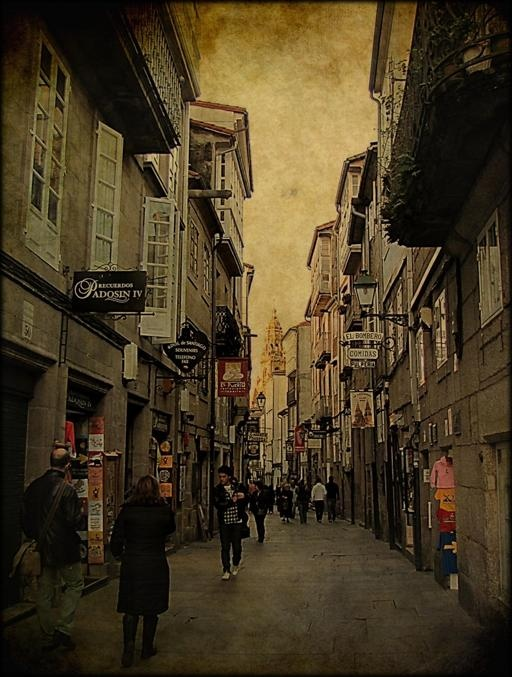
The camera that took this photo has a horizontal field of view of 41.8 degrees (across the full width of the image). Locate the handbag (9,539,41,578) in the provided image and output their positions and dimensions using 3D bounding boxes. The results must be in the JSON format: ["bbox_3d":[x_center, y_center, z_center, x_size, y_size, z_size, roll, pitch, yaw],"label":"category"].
[{"bbox_3d":[-1.963,1.904,5.736,0.321,0.292,0.156,-16,-21,42],"label":"handbag"}]

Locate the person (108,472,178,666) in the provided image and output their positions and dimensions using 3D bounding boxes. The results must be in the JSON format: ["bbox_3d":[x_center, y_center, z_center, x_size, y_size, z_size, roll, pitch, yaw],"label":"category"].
[{"bbox_3d":[-0.943,1.861,5.495,0.515,1.493,0.614,1,-14,-5],"label":"person"}]

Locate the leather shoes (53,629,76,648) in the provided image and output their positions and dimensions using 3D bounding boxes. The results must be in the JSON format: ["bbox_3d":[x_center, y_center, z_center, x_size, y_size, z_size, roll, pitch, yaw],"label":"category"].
[{"bbox_3d":[-1.611,2.541,5.621,0.168,0.149,0.120,6,-17,-21],"label":"leather shoes"}]

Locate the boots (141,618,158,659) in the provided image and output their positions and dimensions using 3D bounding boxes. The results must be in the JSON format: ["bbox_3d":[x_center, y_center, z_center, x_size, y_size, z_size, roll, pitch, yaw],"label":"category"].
[{"bbox_3d":[-0.882,2.432,5.469,0.091,0.342,0.253,5,4,-7],"label":"boots"}]

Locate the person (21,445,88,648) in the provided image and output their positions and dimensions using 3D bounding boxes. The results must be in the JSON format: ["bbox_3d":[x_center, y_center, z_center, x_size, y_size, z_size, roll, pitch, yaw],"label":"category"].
[{"bbox_3d":[-1.765,1.785,5.792,0.532,1.684,0.382,4,-13,-16],"label":"person"}]

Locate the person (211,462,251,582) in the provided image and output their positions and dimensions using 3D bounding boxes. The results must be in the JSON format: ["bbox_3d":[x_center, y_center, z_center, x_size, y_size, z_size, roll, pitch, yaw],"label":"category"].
[{"bbox_3d":[-0.438,3.302,11.846,0.571,1.871,1.685,0,-16,-1],"label":"person"}]

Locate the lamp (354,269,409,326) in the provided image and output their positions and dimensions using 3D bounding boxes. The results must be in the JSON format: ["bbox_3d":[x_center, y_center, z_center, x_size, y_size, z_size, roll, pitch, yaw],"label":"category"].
[{"bbox_3d":[2.861,-0.871,15.264,1.202,1.789,0.588,-1,-47,8],"label":"lamp"}]
